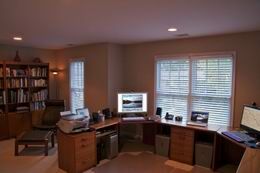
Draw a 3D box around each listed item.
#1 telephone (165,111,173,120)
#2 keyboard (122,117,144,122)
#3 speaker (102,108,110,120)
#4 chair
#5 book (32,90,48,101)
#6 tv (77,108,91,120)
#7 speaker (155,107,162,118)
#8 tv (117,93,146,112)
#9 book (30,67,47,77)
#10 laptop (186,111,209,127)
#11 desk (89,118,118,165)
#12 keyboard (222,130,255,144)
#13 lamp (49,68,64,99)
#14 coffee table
[{"bbox_3d":[1.093,0.830,5.314,0.197,0.169,0.195,0,2,10],"label":"telephone"},{"bbox_3d":[0.076,0.919,5.300,0.655,0.046,0.346,-1,9,-8],"label":"keyboard"},{"bbox_3d":[-0.679,0.787,5.366,0.199,0.272,0.326,-2,4,-32],"label":"speaker"},{"bbox_3d":[-2.517,0.873,6.160,0.996,1.252,1.107,1,-2,2],"label":"chair"},{"bbox_3d":[-3.338,0.334,7.130,0.587,0.490,0.355,0,-1,-20],"label":"book"},{"bbox_3d":[-1.239,0.719,5.052,0.078,0.252,0.285,-21,-20,32],"label":"tv"},{"bbox_3d":[0.831,0.760,5.503,0.178,0.273,0.152,6,12,28],"label":"speaker"},{"bbox_3d":[0.017,0.460,5.552,0.665,0.367,0.045,1,0,-7],"label":"tv"},{"bbox_3d":[-3.374,-0.533,7.076,0.329,0.508,0.602,9,10,41],"label":"book"},{"bbox_3d":[1.731,0.832,4.885,0.517,0.276,0.431,3,10,17],"label":"laptop"},{"bbox_3d":[-0.681,1.443,4.860,0.555,1.008,1.236,-1,-1,28],"label":"desk"},{"bbox_3d":[2.378,1.081,4.132,0.412,0.077,0.525,1,3,-6],"label":"keyboard"},{"bbox_3d":[-2.874,-0.117,7.441,0.449,1.187,0.584,-9,14,-38],"label":"lamp"},{"bbox_3d":[-2.675,1.618,5.428,0.862,0.402,1.060,2,-4,-14],"label":"coffee table"}]
